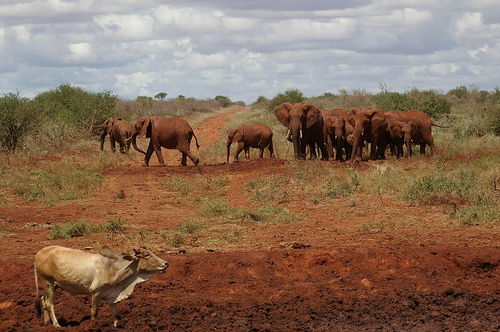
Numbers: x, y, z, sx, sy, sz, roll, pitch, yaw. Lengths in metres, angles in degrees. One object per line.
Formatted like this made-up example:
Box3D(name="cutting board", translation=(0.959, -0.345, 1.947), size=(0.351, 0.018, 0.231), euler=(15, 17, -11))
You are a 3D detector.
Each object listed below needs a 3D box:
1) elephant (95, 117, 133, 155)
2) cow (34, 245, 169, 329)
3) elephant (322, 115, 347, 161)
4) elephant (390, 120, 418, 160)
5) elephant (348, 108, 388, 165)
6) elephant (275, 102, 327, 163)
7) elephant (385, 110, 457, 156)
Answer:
Box3D(name="elephant", translation=(-7.224, -1.618, 28.751), size=(0.926, 1.834, 2.253), euler=(-10, 18, -43))
Box3D(name="cow", translation=(-3.136, 2.499, 10.527), size=(3.016, 1.557, 0.729), euler=(0, 2, 5))
Box3D(name="elephant", translation=(3.901, -1.223, 24.201), size=(1.231, 1.905, 2.830), euler=(-1, 1, 3))
Box3D(name="elephant", translation=(6.521, -1.217, 22.999), size=(0.994, 1.618, 2.317), euler=(-1, 11, 3))
Box3D(name="elephant", translation=(5.117, -1.399, 23.042), size=(1.518, 2.325, 2.935), euler=(7, 8, 38))
Box3D(name="elephant", translation=(2.317, -1.582, 23.872), size=(1.912, 2.575, 3.265), euler=(0, 6, 25))
Box3D(name="elephant", translation=(6.475, -1.229, 22.881), size=(3.713, 2.073, 1.416), euler=(-9, 4, -10))
